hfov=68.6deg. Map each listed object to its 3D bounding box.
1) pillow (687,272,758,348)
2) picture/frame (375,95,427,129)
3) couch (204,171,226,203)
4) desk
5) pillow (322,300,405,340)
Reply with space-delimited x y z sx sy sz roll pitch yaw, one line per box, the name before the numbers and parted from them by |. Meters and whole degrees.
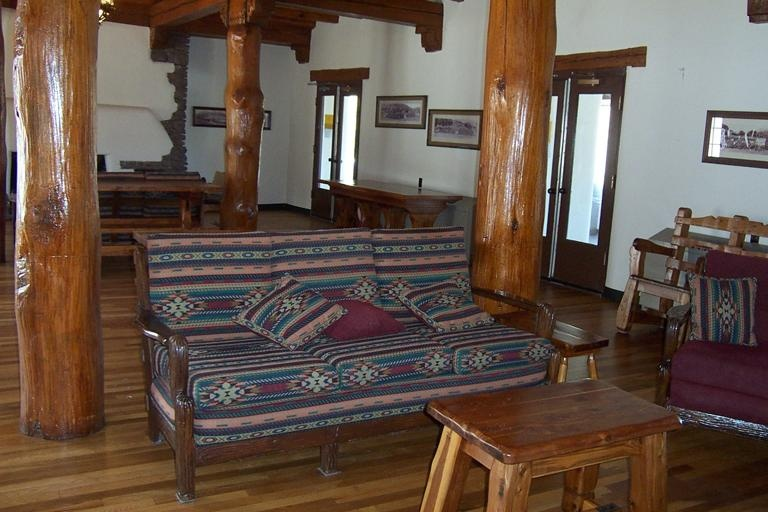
pillow | 2.460 0.422 4.086 0.533 0.487 0.186 6 -14 7
picture/frame | 0.275 -2.418 9.498 0.229 0.549 1.247 -7 14 -30
couch | -2.325 -0.866 7.749 0.258 0.530 2.186 -3 12 -17
desk | 0.048 -0.617 8.680 1.974 0.609 0.680 11 5 32
pillow | -0.126 0.441 3.613 0.317 0.070 0.319 -6 24 -25
